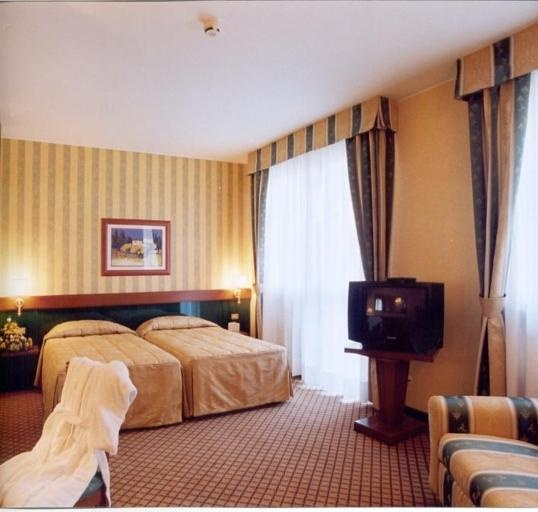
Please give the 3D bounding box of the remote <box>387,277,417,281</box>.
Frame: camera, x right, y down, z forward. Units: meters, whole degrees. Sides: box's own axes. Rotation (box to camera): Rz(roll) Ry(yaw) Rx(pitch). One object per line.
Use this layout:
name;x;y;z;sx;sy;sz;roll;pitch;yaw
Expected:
remote;0.999;0.179;3.561;0.194;0.028;0.266;0;2;8

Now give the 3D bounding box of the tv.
tv;0.947;0.458;3.489;0.750;0.777;0.428;0;1;36

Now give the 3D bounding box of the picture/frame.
picture/frame;-1.555;-0.116;5.268;0.581;0.594;0.043;3;-6;-33
